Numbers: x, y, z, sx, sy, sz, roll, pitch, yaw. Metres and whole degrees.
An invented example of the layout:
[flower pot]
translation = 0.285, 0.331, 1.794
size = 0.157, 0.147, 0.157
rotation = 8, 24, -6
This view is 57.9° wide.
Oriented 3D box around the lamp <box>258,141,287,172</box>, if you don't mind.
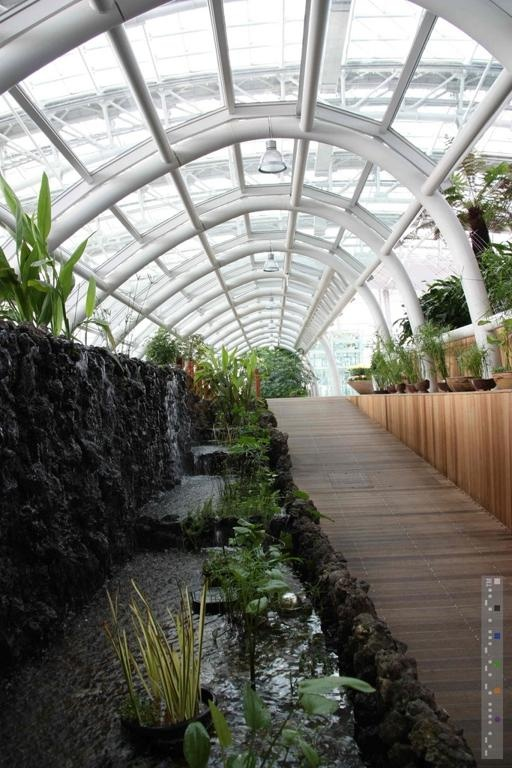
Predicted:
[lamp]
translation = 0.200, -3.316, 6.665
size = 0.352, 0.496, 0.290
rotation = -7, -4, 3
